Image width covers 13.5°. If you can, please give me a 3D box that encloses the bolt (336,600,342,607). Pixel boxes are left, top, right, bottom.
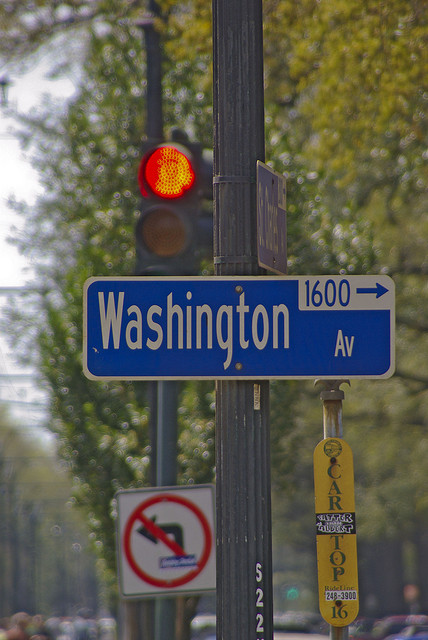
[{"bbox_3d":[0.902,2.042,12.999,0.037,0.009,0.036,-3,87,1],"label":"bolt"}]

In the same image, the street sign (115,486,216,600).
[{"bbox_3d":[-0.348,1.688,13.625,0.873,0.092,0.944,-3,79,10],"label":"street sign"}]

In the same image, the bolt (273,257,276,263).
[{"bbox_3d":[0.433,-0.416,12.846,0.015,0.037,0.019,2,107,5],"label":"bolt"}]

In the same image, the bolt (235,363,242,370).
[{"bbox_3d":[0.171,0.328,12.686,0.043,0.010,0.045,0,89,-2],"label":"bolt"}]

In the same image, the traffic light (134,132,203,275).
[{"bbox_3d":[-0.327,-0.735,13.094,0.475,0.863,0.919,2,50,3],"label":"traffic light"}]
